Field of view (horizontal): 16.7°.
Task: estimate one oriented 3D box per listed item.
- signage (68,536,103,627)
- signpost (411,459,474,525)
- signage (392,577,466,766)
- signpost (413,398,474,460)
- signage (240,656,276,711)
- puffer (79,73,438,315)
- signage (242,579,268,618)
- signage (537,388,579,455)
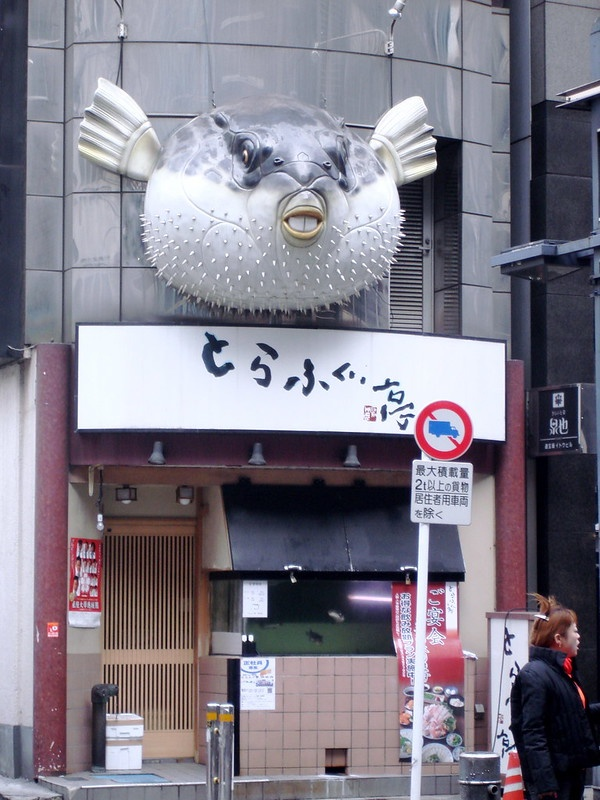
[{"bbox_3d":[-2.116,1.804,20.119,0.030,1.025,0.600,-5,-11,18],"label":"signage"},{"bbox_3d":[1.108,0.729,16.089,0.359,0.501,0.045,4,-8,-23],"label":"signpost"},{"bbox_3d":[1.284,2.727,20.224,0.609,2.233,0.285,-1,-31,2],"label":"signage"},{"bbox_3d":[1.171,0.231,16.902,0.389,0.576,0.060,5,-8,-29],"label":"signpost"},{"bbox_3d":[-0.406,2.771,19.754,0.304,0.633,0.021,-1,-8,1],"label":"signage"},{"bbox_3d":[-0.387,-2.104,19.423,3.204,2.253,1.974,-3,-14,0],"label":"puffer"},{"bbox_3d":[-0.453,1.952,20.062,0.244,0.520,0.041,-1,0,-7],"label":"signage"},{"bbox_3d":[2.700,0.227,21.307,0.054,0.702,0.451,5,-11,-29],"label":"signage"}]
